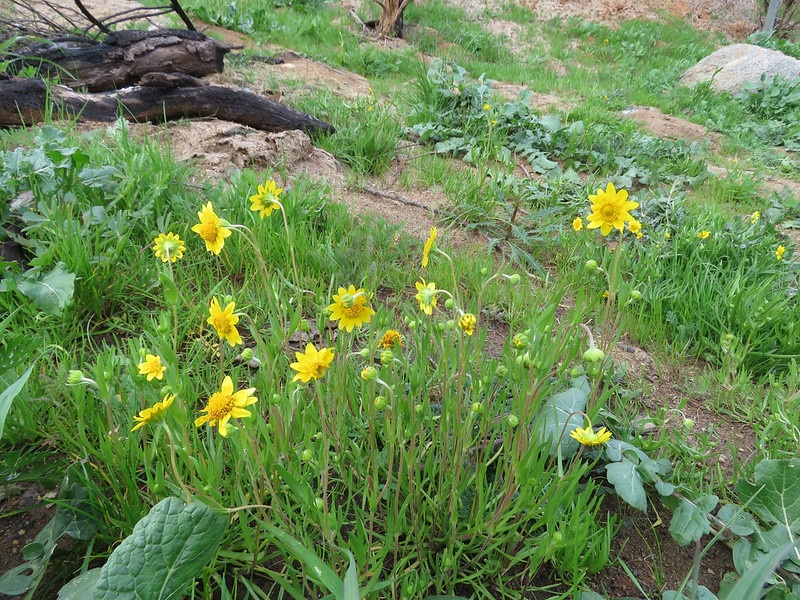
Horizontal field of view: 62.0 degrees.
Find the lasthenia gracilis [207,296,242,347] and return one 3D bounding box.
[{"bbox_3d":[-0.678,0.107,2.564,0.114,0.268,0.223,1,31,-17],"label":"lasthenia gracilis"}]

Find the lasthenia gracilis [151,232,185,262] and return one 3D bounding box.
[{"bbox_3d":[-0.925,-0.208,2.702,0.139,0.179,0.048,-6,2,-7],"label":"lasthenia gracilis"}]

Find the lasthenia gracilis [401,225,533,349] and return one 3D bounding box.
[{"bbox_3d":[0.234,0.003,2.737,0.485,0.574,0.409,3,-7,-14],"label":"lasthenia gracilis"}]

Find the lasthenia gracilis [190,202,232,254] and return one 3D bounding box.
[{"bbox_3d":[-0.746,-0.265,2.608,0.119,0.249,0.250,-3,33,-23],"label":"lasthenia gracilis"}]

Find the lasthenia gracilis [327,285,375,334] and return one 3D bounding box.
[{"bbox_3d":[-0.191,0.020,2.499,0.154,0.175,0.065,-29,19,5],"label":"lasthenia gracilis"}]

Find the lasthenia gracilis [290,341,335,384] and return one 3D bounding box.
[{"bbox_3d":[-0.297,0.227,2.335,0.169,0.095,0.198,1,19,5],"label":"lasthenia gracilis"}]
